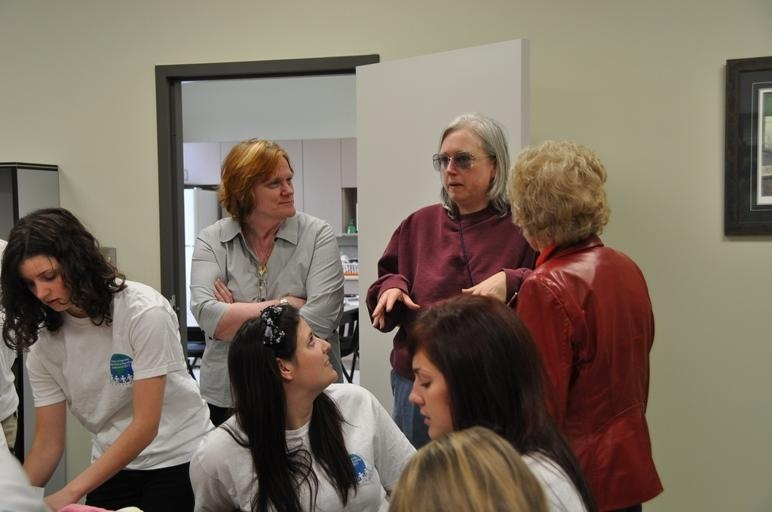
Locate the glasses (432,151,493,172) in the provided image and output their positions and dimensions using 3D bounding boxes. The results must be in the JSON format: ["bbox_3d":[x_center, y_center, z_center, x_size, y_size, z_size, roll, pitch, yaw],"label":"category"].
[{"bbox_3d":[0.306,-0.427,3.041,0.217,0.091,0.063,0,1,29],"label":"glasses"}]
